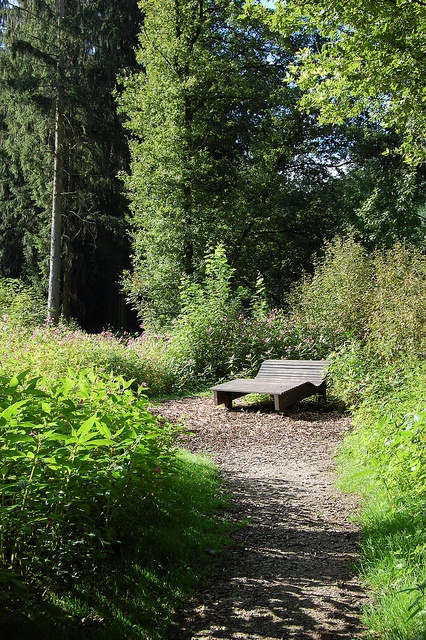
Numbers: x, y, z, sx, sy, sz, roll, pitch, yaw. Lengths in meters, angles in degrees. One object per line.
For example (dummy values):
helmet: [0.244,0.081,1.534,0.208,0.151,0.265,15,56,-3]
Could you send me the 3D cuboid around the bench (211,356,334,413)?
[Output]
bench: [0.754,0.833,7.698,1.160,0.468,1.277,-3,3,33]
